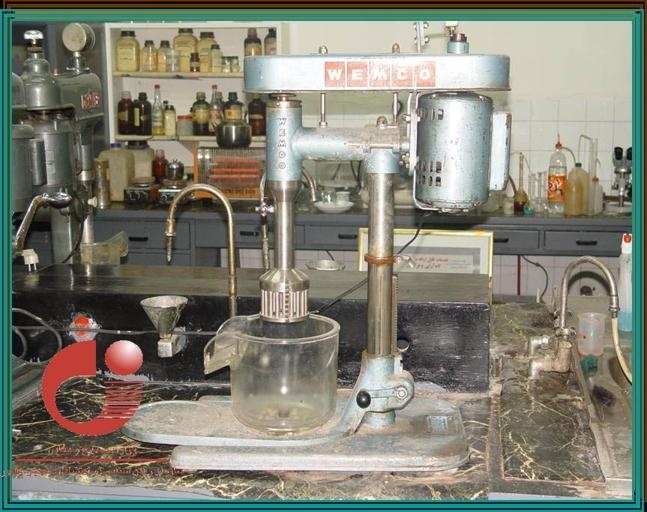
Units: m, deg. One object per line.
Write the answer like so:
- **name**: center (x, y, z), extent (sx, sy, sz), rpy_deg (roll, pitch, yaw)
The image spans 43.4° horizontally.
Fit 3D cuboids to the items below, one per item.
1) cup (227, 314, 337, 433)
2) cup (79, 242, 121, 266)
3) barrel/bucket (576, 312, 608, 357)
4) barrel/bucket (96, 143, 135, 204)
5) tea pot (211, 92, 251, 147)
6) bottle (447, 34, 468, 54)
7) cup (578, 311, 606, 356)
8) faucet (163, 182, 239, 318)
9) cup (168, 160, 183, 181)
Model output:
- **cup**: center (-0.143, 0.255, 1.857), extent (0.333, 0.223, 0.242), rpy_deg (7, 10, -5)
- **cup**: center (-0.758, -0.008, 2.748), extent (0.130, 0.069, 0.084), rpy_deg (2, 3, 7)
- **barrel/bucket**: center (0.801, 0.232, 2.374), extent (0.101, 0.104, 0.113), rpy_deg (-1, -2, 21)
- **barrel/bucket**: center (-1.211, -0.491, 4.734), extent (0.194, 0.331, 0.328), rpy_deg (-2, 10, -11)
- **tea pot**: center (-0.527, -0.784, 4.685), extent (0.207, 0.315, 0.311), rpy_deg (-1, 10, -7)
- **bottle**: center (0.288, -0.456, 1.739), extent (0.043, 0.045, 0.053), rpy_deg (1, 10, 6)
- **cup**: center (0.771, 0.227, 2.391), extent (0.129, 0.109, 0.099), rpy_deg (1, 7, 15)
- **faucet**: center (-0.294, 0.035, 2.044), extent (0.228, 0.420, 0.086), rpy_deg (0, 3, 13)
- **cup**: center (-0.845, -0.496, 4.627), extent (0.117, 0.108, 0.106), rpy_deg (0, 4, 0)
